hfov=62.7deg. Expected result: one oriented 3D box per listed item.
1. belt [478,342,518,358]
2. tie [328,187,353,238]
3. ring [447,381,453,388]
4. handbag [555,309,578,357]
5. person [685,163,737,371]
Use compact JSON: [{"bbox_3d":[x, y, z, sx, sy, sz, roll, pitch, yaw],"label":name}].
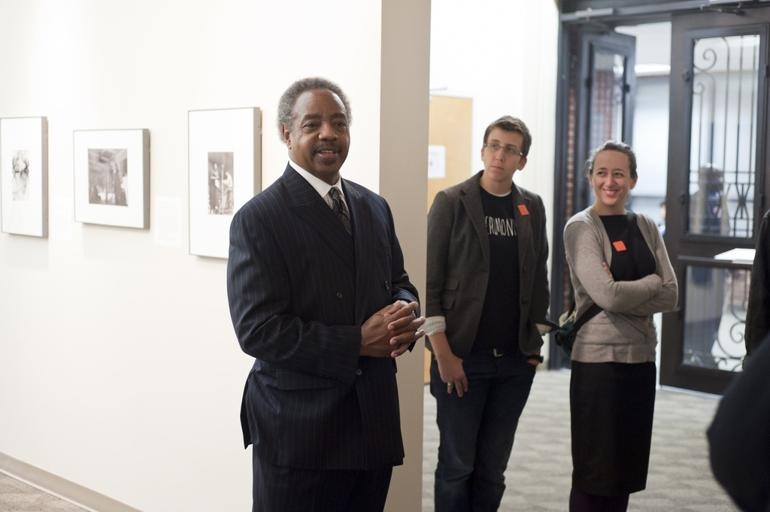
[{"bbox_3d":[0.600,0.502,3.334,0.206,0.061,0.021,-1,6,-2],"label":"belt"},{"bbox_3d":[-0.195,-0.216,2.669,0.058,0.270,0.065,-17,-28,-3],"label":"tie"},{"bbox_3d":[0.343,0.673,3.315,0.027,0.029,0.026,2,3,0],"label":"ring"},{"bbox_3d":[0.976,0.415,3.435,0.085,0.213,0.153,6,-8,0],"label":"handbag"},{"bbox_3d":[2.782,0.074,5.447,0.317,1.729,0.217,2,6,30],"label":"person"}]
